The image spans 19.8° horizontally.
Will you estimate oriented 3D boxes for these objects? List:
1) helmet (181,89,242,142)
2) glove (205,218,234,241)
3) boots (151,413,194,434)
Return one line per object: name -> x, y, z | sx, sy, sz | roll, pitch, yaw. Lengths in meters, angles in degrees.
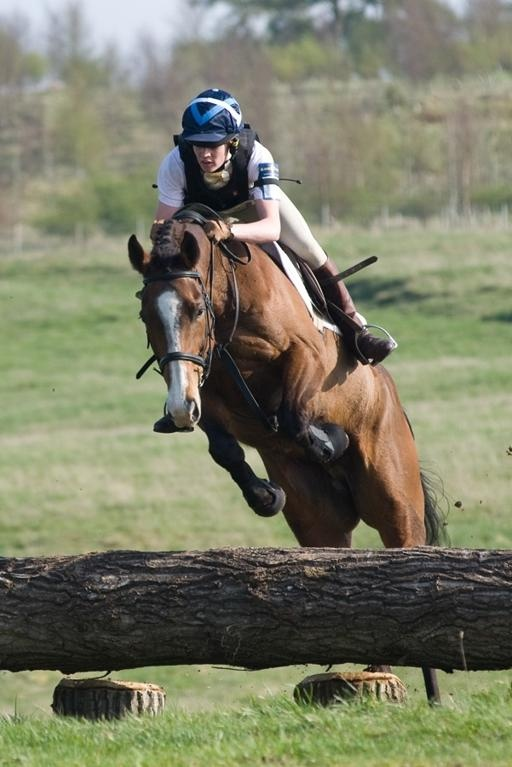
helmet -> -0.218, -1.425, 7.848 | 0.260, 0.184, 0.360 | 4, 30, 17
glove -> -0.178, -0.805, 7.648 | 0.048, 0.098, 0.135 | -40, -15, 22
boots -> -0.410, 0.205, 7.511 | 0.103, 0.111, 0.285 | -6, 6, -25
